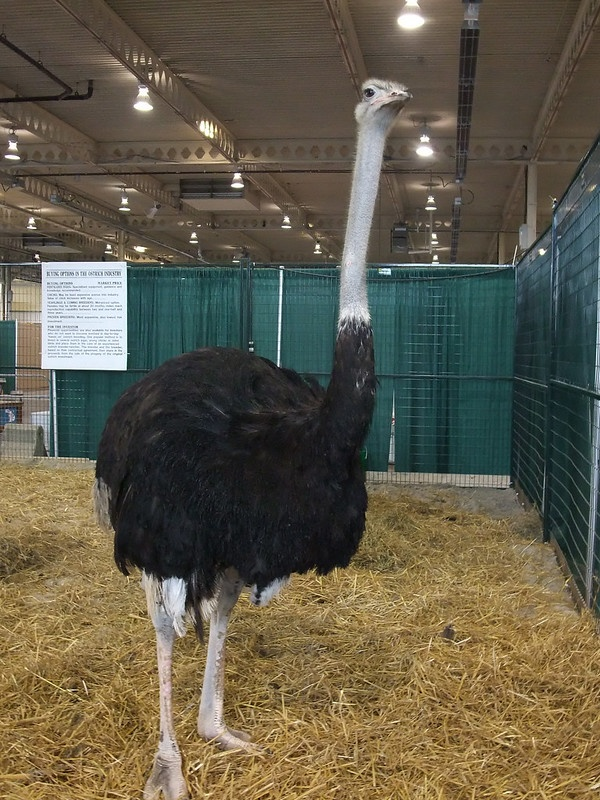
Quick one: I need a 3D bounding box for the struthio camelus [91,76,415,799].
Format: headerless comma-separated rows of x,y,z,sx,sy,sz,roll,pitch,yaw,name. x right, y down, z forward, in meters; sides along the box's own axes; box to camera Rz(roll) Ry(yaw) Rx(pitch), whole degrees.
-0.178,0.132,1.911,0.709,1.993,0.914,-2,5,-36,struthio camelus

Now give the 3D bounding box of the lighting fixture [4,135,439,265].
-1.834,-4.264,13.903,4.632,0.971,2.479,0,-20,4,lighting fixture
